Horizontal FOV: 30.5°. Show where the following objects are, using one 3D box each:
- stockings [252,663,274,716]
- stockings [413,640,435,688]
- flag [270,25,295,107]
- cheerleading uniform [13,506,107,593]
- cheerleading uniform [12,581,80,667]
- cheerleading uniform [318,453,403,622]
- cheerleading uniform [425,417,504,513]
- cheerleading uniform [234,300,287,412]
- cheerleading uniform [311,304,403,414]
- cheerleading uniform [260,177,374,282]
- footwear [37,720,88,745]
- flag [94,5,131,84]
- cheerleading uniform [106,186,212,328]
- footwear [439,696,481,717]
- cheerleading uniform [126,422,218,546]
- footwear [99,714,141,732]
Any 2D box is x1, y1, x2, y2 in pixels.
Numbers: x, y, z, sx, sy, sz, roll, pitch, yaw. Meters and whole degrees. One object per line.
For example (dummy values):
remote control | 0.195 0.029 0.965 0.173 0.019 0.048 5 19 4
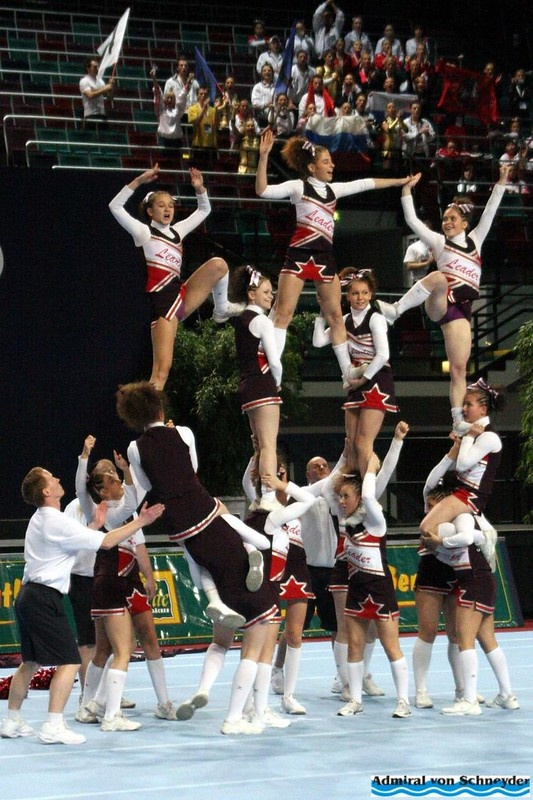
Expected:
stockings | -0.046 1.801 5.950 0.073 0.248 0.074 -14 0 8
stockings | 1.099 1.920 7.050 0.117 0.440 0.188 5 16 8
flag | 0.290 -5.411 15.726 0.227 0.106 1.274 3 -33 -7
cheerleading uniform | -1.192 0.923 5.656 0.385 0.560 0.484 -7 18 -31
cheerleading uniform | -1.244 1.317 5.579 0.257 0.504 0.436 -7 18 -32
cheerleading uniform | 0.677 0.969 6.451 0.380 0.973 0.468 2 15 -1
cheerleading uniform | 1.415 0.509 7.127 0.564 0.982 0.444 8 -3 14
cheerleading uniform | -0.083 -0.242 6.550 0.354 0.750 0.302 6 16 13
cheerleading uniform | 0.616 -0.363 7.092 0.519 0.951 0.350 -3 23 12
cheerleading uniform | 0.331 -1.257 7.209 0.803 0.759 0.350 -11 20 -41
footwear | -1.184 1.934 5.658 0.309 0.142 0.118 5 -7 -8
flag | -2.252 -5.334 14.501 0.102 0.875 0.303 19 4 39
cheerleading uniform | -0.790 -1.096 7.354 0.388 1.001 0.812 15 19 37
footwear | 1.329 2.133 6.726 0.293 0.125 0.104 2 -5 -8
cheerleading uniform | -0.496 0.445 5.285 0.438 0.566 0.251 9 17 23
footwear | -0.908 2.010 6.082 0.290 0.124 0.100 3 3 -10
